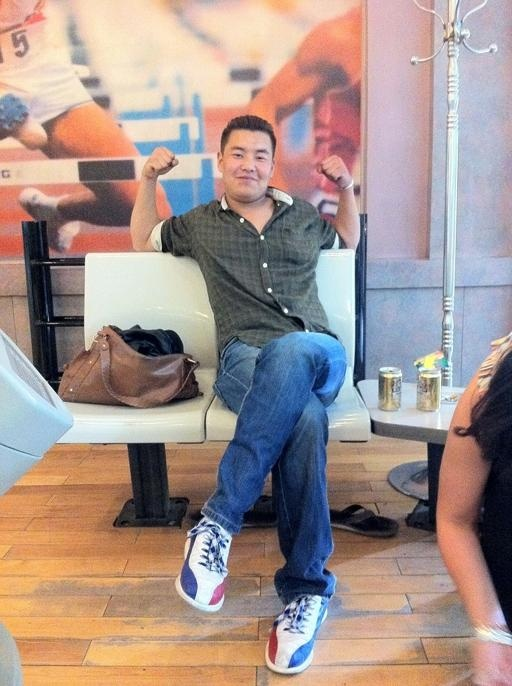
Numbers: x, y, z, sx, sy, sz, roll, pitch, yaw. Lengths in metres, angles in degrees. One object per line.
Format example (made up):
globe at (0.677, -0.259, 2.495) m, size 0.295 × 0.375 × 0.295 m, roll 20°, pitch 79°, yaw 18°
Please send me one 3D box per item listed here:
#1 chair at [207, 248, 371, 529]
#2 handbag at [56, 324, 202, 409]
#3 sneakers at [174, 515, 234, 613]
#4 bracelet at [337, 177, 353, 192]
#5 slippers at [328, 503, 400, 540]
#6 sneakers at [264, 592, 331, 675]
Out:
chair at (0.046, -0.030, 1.979) m, size 0.521 × 0.501 × 0.691 m, roll 2°, pitch 8°, yaw 5°
handbag at (-0.362, 0.055, 1.864) m, size 0.366 × 0.145 × 0.251 m, roll 3°, pitch 3°, yaw 1°
sneakers at (-0.115, 0.480, 1.381) m, size 0.098 × 0.175 × 0.125 m, roll 1°, pitch 14°, yaw 11°
bracelet at (0.305, -0.544, 2.191) m, size 0.039 × 0.045 × 0.023 m, roll -5°, pitch 23°, yaw -6°
slippers at (0.322, 0.520, 1.906) m, size 0.195 × 0.041 × 0.078 m, roll 3°, pitch 14°, yaw 41°
sneakers at (0.085, 0.617, 1.367) m, size 0.072 × 0.069 × 0.189 m, roll 10°, pitch 6°, yaw 15°
